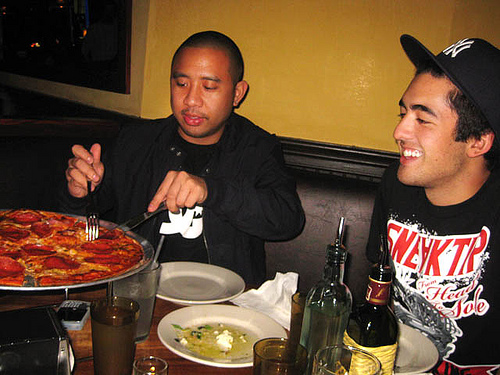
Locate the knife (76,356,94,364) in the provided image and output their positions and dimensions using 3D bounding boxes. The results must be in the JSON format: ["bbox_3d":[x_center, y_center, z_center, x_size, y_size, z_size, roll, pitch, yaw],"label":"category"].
[{"bbox_3d":[-0.498,0.513,1.249,0.029,0.007,0.031,3,2,-20],"label":"knife"}]

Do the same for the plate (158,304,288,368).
[{"bbox_3d":[-0.099,0.476,1.361,0.345,0.071,0.345,14,12,35],"label":"plate"}]

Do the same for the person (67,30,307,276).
[{"bbox_3d":[-0.396,-0.033,2.479,1.276,1.676,0.985,13,16,7],"label":"person"}]

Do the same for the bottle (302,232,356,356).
[{"bbox_3d":[0.235,0.377,1.263,0.143,0.455,0.132,3,21,-1],"label":"bottle"}]

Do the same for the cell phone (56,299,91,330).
[{"bbox_3d":[-0.594,0.428,1.395,0.112,0.032,0.142,19,9,-7],"label":"cell phone"}]

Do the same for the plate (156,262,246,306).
[{"bbox_3d":[-0.224,0.386,1.671,0.416,0.055,0.422,4,9,-15],"label":"plate"}]

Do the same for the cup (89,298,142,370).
[{"bbox_3d":[-0.393,0.435,1.198,0.148,0.193,0.224,5,10,-15],"label":"cup"}]

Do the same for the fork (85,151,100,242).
[{"bbox_3d":[-0.741,0.062,1.932,0.062,0.052,0.472,-11,30,-14],"label":"fork"}]

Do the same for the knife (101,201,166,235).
[{"bbox_3d":[-0.618,0.164,2.246,0.396,0.051,0.044,-29,0,-11],"label":"knife"}]

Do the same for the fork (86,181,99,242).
[{"bbox_3d":[-0.712,0.142,1.873,0.051,0.362,0.043,-1,-24,-18],"label":"fork"}]
